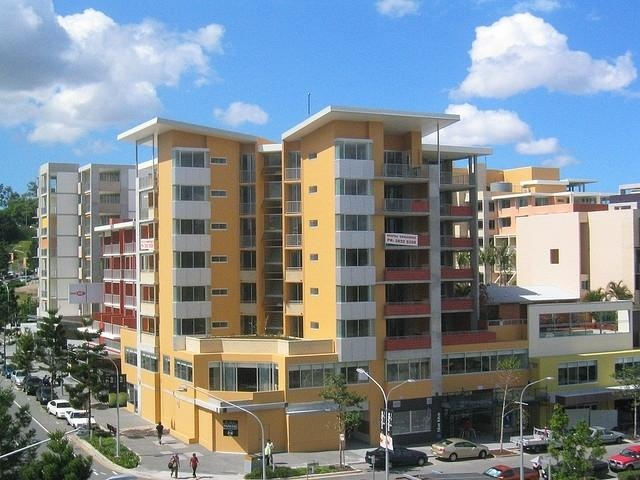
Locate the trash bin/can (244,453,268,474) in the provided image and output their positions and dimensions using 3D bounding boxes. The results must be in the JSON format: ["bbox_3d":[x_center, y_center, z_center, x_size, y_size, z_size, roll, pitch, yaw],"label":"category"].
[{"bbox_3d":[-7.218,24.653,118.907,1.878,2.109,1.829,-1,-9,-7],"label":"trash bin/can"}]

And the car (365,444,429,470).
[{"bbox_3d":[8.605,24.459,122.029,5.704,2.046,3.112,-2,2,-21],"label":"car"}]
